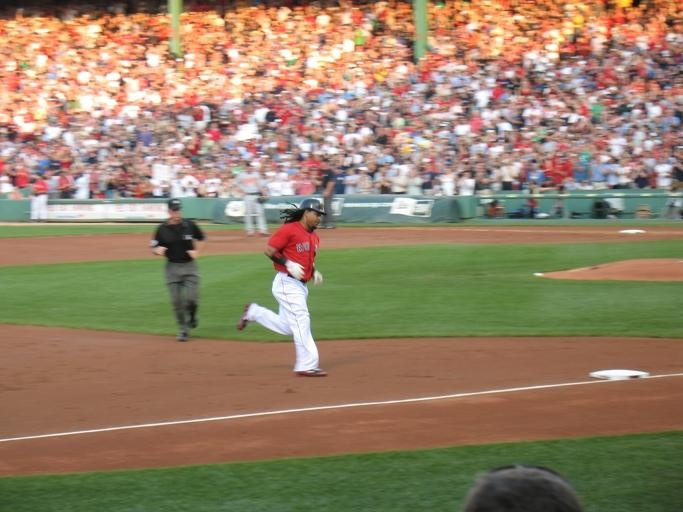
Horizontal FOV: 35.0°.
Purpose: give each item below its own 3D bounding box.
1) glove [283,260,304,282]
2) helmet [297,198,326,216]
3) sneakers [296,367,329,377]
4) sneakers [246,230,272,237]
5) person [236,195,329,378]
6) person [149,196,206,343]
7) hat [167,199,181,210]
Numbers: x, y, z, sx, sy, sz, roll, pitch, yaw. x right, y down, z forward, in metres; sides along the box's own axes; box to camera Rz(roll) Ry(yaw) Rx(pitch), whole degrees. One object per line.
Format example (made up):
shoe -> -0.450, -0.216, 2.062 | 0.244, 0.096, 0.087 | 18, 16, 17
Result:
glove -> -0.732, 0.223, 17.232 | 0.323, 0.315, 0.159 | -1, 4, -18
helmet -> -0.470, -0.800, 17.442 | 0.433, 0.273, 0.307 | 0, 3, 10
sneakers -> -0.474, 1.894, 17.568 | 0.608, 0.138, 0.153 | -1, 1, 1
sneakers -> -2.582, -0.661, 32.959 | 0.806, 0.200, 0.209 | -1, 2, 23
person -> -0.852, 0.506, 17.522 | 1.184, 2.885, 0.676 | 1, 5, 18
person -> -2.903, 0.246, 19.423 | 0.596, 2.530, 0.849 | 3, 6, 38
hat -> -2.976, -0.909, 19.321 | 0.221, 0.207, 0.376 | -1, 3, -10
